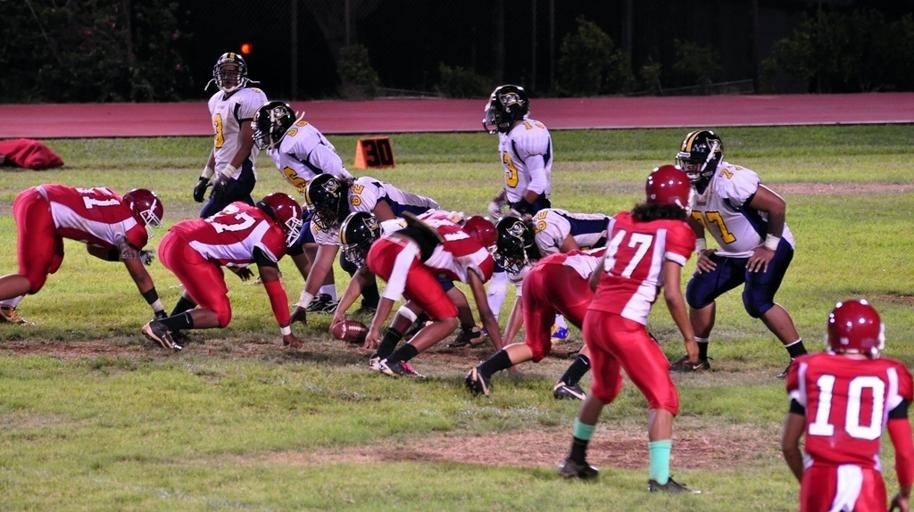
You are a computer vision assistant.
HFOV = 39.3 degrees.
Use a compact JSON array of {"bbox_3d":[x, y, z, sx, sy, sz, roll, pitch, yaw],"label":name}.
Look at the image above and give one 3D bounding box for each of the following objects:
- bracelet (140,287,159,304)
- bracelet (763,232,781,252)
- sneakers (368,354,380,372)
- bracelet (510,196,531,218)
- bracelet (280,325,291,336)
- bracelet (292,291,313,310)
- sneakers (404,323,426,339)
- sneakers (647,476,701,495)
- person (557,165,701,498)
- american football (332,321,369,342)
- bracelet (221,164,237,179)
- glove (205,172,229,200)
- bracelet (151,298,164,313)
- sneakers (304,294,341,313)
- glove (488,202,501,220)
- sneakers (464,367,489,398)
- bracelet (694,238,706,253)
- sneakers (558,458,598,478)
[{"bbox_3d":[-4.467,0.597,18.580,0.222,0.179,0.227,-25,1,-12],"label":"bracelet"},{"bbox_3d":[4.282,-0.181,17.617,0.238,0.208,0.205,19,18,-4],"label":"bracelet"},{"bbox_3d":[-1.156,1.504,17.726,0.212,0.247,0.091,5,11,40],"label":"sneakers"},{"bbox_3d":[0.962,-0.698,19.488,0.314,0.289,0.288,14,50,-6],"label":"bracelet"},{"bbox_3d":[-2.477,1.098,18.402,0.144,0.096,0.137,0,4,15],"label":"bracelet"},{"bbox_3d":[-2.231,0.667,18.898,0.298,0.215,0.250,23,-2,-26],"label":"bracelet"},{"bbox_3d":[-0.625,1.132,18.977,0.296,0.092,0.291,-32,12,-21],"label":"sneakers"},{"bbox_3d":[2.724,2.860,15.862,0.728,0.227,0.225,-1,0,2],"label":"sneakers"},{"bbox_3d":[2.214,0.895,16.018,1.496,3.954,1.037,0,8,10],"label":"person"},{"bbox_3d":[-1.545,1.114,18.486,0.304,0.251,0.468,8,-2,26],"label":"american football"},{"bbox_3d":[-3.562,-1.306,20.052,0.232,0.185,0.218,-7,14,-35],"label":"bracelet"},{"bbox_3d":[-3.708,-1.071,20.066,0.291,0.371,0.128,29,-1,42],"label":"glove"},{"bbox_3d":[-4.335,0.747,18.602,0.185,0.177,0.169,4,39,17],"label":"bracelet"},{"bbox_3d":[-2.068,0.759,19.625,0.651,0.238,0.202,3,6,-1],"label":"sneakers"},{"bbox_3d":[0.600,-0.702,20.400,0.141,0.261,0.284,11,7,8],"label":"glove"},{"bbox_3d":[0.241,1.734,17.302,0.425,0.175,0.293,27,-4,-33],"label":"sneakers"},{"bbox_3d":[3.376,-0.134,17.811,0.154,0.150,0.142,15,-36,-23],"label":"bracelet"},{"bbox_3d":[1.517,2.713,16.164,0.555,0.209,0.189,0,2,-1],"label":"sneakers"}]
